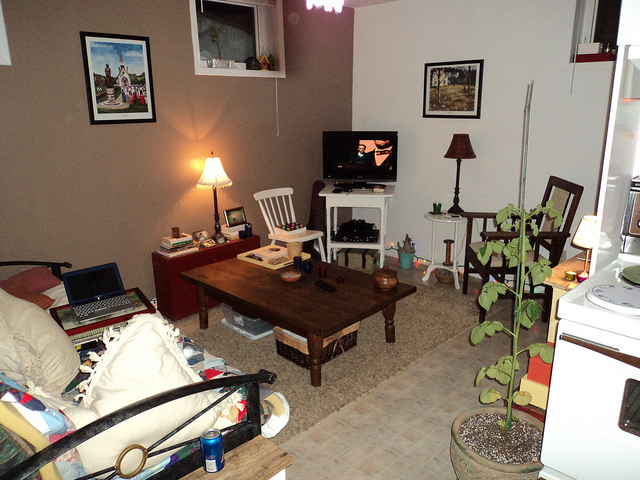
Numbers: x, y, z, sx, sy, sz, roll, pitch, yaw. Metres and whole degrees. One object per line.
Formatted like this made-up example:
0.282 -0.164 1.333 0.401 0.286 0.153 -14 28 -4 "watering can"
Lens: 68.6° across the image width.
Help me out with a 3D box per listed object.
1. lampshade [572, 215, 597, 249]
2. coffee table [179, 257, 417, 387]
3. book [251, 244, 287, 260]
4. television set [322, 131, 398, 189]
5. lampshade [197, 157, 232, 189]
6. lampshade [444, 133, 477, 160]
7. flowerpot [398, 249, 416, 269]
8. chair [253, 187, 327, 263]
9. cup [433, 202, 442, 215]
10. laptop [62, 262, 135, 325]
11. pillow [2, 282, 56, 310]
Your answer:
1.925 -0.049 3.406 0.111 0.231 0.229 8 19 24 "lampshade"
-0.100 0.395 3.917 1.695 0.536 1.021 13 20 41 "coffee table"
-0.469 0.117 4.601 0.189 0.042 0.179 15 24 39 "book"
0.489 -1.034 5.833 0.977 0.717 0.130 1 15 -5 "television set"
-1.102 -0.693 4.863 0.391 0.363 0.388 6 14 40 "lampshade"
1.556 -1.031 5.201 0.281 0.187 0.280 -13 20 -26 "lampshade"
1.091 0.254 5.872 0.173 0.156 0.198 -2 6 -12 "flowerpot"
-0.264 -0.227 5.598 0.592 1.041 0.725 -10 22 28 "chair"
1.381 -0.379 5.484 0.079 0.119 0.224 4 18 13 "cup"
-1.666 0.425 3.539 0.460 0.292 0.418 -20 34 -34 "laptop"
-2.153 0.396 3.439 0.435 0.048 0.175 27 26 13 "pillow"
